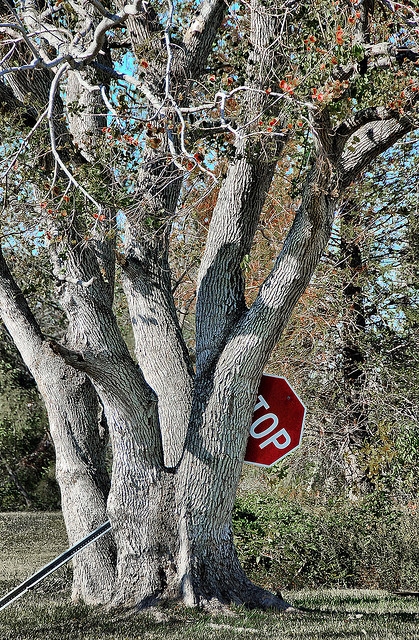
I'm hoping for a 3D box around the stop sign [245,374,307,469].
[{"bbox_3d":[0.726,1.104,14.018,0.774,0.960,0.378,-3,7,-36],"label":"stop sign"}]
